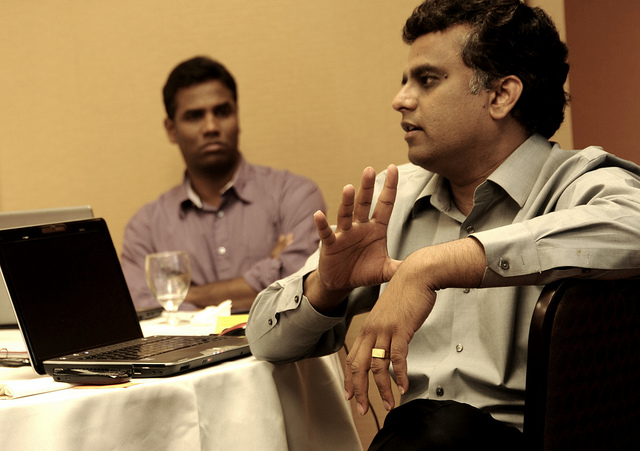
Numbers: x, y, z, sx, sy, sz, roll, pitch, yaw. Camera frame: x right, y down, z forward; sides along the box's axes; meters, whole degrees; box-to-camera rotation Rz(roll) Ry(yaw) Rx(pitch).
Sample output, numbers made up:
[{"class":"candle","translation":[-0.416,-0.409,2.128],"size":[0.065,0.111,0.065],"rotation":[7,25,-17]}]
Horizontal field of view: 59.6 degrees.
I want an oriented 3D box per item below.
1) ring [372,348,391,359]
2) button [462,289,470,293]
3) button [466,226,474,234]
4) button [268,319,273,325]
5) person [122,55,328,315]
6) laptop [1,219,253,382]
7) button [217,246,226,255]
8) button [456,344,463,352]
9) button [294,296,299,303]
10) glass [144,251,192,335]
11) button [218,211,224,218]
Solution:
[{"class":"ring","translation":[0.139,0.290,1.271],"size":[0.040,0.023,0.013],"rotation":[-10,-2,4]},{"class":"button","translation":[0.384,0.172,1.470],"size":[0.015,0.009,0.003],"rotation":[-10,-2,13]},{"class":"button","translation":[0.409,0.013,1.510],"size":[0.017,0.020,0.021],"rotation":[-9,-2,-3]},{"class":"button","translation":[-0.130,0.251,1.462],"size":[0.010,0.011,0.002],"rotation":[2,-7,37]},{"class":"person","translation":[-0.524,-0.131,2.823],"size":[0.943,1.422,0.749],"rotation":[-2,31,-2]},{"class":"laptop","translation":[-0.520,0.202,1.495],"size":[0.480,0.385,0.473],"rotation":[3,2,21]},{"class":"button","translation":[-0.492,0.131,2.804],"size":[0.033,0.036,0.009],"rotation":[28,1,19]},{"class":"button","translation":[0.365,0.318,1.462],"size":[0.015,0.017,0.004],"rotation":[5,-6,32]},{"class":"button","translation":[-0.060,0.190,1.449],"size":[0.003,0.011,0.010],"rotation":[4,5,-31]},{"class":"glass","translation":[-0.511,0.220,1.897],"size":[0.151,0.262,0.149],"rotation":[-5,8,-20]},{"class":"button","translation":[-0.502,-0.049,2.839],"size":[0.030,0.030,0.010],"rotation":[-10,-2,18]}]
